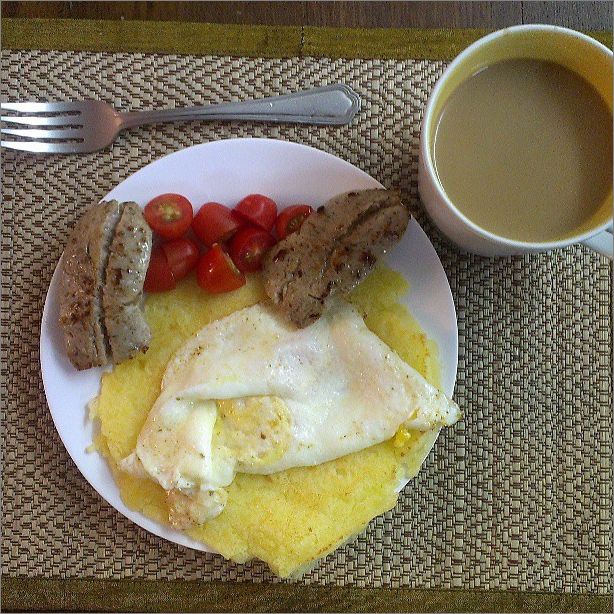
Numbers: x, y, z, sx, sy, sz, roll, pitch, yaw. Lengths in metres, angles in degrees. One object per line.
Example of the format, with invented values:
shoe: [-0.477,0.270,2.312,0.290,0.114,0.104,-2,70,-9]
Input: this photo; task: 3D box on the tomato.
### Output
tomato: [-0.192,-0.163,1.975,0.363,0.117,0.258,-9,88,2]

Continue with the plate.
plate: [-0.170,-0.006,2.119,0.836,0.132,1.143,-1,94,0]
